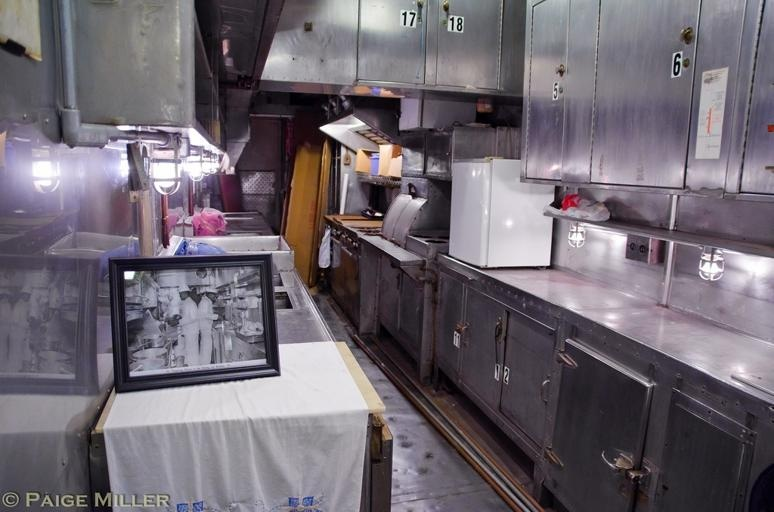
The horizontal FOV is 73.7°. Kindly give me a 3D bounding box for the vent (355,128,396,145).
[{"bbox_3d":[-0.178,-1.636,7.067,0.350,0.095,0.389,16,1,41],"label":"vent"}]

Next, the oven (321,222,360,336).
[{"bbox_3d":[-0.569,0.283,6.528,0.627,1.217,1.240,1,7,-15],"label":"oven"}]

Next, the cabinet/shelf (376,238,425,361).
[{"bbox_3d":[0.147,0.430,5.175,0.576,0.935,1.086,4,6,-11],"label":"cabinet/shelf"}]
